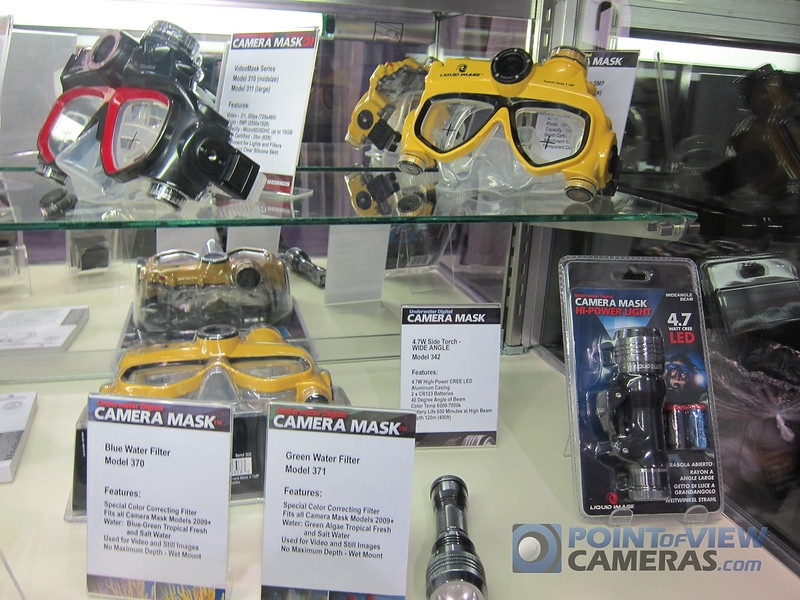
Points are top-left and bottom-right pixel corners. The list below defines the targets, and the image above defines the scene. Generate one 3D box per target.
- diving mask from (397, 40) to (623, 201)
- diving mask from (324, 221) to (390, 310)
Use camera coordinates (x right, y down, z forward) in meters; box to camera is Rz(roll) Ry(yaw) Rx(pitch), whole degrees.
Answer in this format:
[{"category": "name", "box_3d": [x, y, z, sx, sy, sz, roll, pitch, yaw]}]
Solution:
[{"category": "diving mask", "box_3d": [0.214, -0.326, 1.118, 0.397, 0.241, 0.291, 14, 52, 28]}, {"category": "diving mask", "box_3d": [-0.103, -0.091, 1.496, 0.162, 0.207, 0.040, -3, 25, -11]}]
